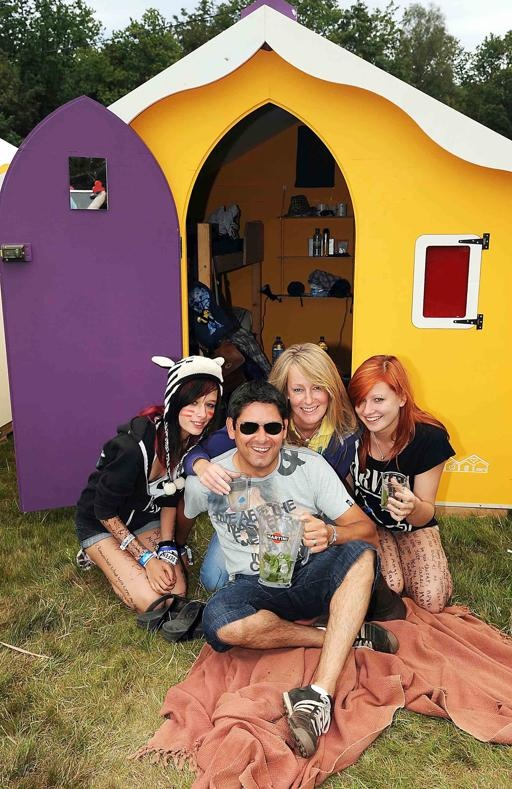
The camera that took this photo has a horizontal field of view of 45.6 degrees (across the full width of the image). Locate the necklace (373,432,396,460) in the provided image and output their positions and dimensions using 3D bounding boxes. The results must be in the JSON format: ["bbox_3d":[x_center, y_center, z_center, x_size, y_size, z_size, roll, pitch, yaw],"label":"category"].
[{"bbox_3d":[0.520,0.214,2.542,0.077,0.111,0.027,0,1,30],"label":"necklace"}]

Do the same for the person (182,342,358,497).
[{"bbox_3d":[0.129,0.228,2.570,0.755,0.829,0.508,-2,26,-6],"label":"person"}]

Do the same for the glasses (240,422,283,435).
[{"bbox_3d":[0.017,0.122,2.138,0.144,0.052,0.030,-2,7,-1],"label":"glasses"}]

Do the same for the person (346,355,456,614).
[{"bbox_3d":[0.554,0.358,2.522,0.450,1.035,0.521,1,6,5],"label":"person"}]

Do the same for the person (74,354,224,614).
[{"bbox_3d":[-0.456,0.383,2.768,0.533,1.147,0.642,4,7,35],"label":"person"}]

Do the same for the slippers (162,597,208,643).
[{"bbox_3d":[-0.282,0.900,2.463,0.114,0.068,0.222,11,22,22],"label":"slippers"}]

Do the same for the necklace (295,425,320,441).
[{"bbox_3d":[0.210,0.178,2.593,0.061,0.083,0.041,8,4,2],"label":"necklace"}]

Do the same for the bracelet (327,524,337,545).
[{"bbox_3d":[0.264,0.483,2.096,0.022,0.054,0.043,2,6,-3],"label":"bracelet"}]

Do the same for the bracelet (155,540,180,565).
[{"bbox_3d":[-0.384,0.694,2.670,0.080,0.062,0.105,12,-3,-9],"label":"bracelet"}]

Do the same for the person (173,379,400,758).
[{"bbox_3d":[0.118,0.543,2.136,0.691,1.086,1.031,-7,-3,-1],"label":"person"}]

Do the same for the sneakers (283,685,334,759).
[{"bbox_3d":[0.149,0.903,1.712,0.097,0.074,0.216,-11,10,-5],"label":"sneakers"}]

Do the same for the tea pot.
[{"bbox_3d":[0.078,0.495,1.976,0.149,0.298,0.105,-2,7,4],"label":"tea pot"}]

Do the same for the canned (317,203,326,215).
[{"bbox_3d":[0.670,-1.931,6.397,0.122,0.134,0.116,-4,10,-17],"label":"canned"}]

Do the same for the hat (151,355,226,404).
[{"bbox_3d":[-0.275,-0.095,2.661,0.330,0.201,0.263,1,12,-6],"label":"hat"}]

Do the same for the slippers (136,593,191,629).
[{"bbox_3d":[-0.387,0.894,2.531,0.093,0.077,0.235,7,13,28],"label":"slippers"}]

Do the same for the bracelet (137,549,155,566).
[{"bbox_3d":[-0.478,0.710,2.633,0.053,0.028,0.072,-26,-16,-2],"label":"bracelet"}]

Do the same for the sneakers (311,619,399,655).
[{"bbox_3d":[0.365,0.877,2.251,0.349,0.138,0.121,0,2,2],"label":"sneakers"}]

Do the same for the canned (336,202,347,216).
[{"bbox_3d":[0.885,-1.912,6.335,0.128,0.148,0.128,1,2,1],"label":"canned"}]

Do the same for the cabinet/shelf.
[{"bbox_3d":[0.627,-1.516,6.848,0.856,1.017,0.516,-6,18,-18],"label":"cabinet/shelf"}]
